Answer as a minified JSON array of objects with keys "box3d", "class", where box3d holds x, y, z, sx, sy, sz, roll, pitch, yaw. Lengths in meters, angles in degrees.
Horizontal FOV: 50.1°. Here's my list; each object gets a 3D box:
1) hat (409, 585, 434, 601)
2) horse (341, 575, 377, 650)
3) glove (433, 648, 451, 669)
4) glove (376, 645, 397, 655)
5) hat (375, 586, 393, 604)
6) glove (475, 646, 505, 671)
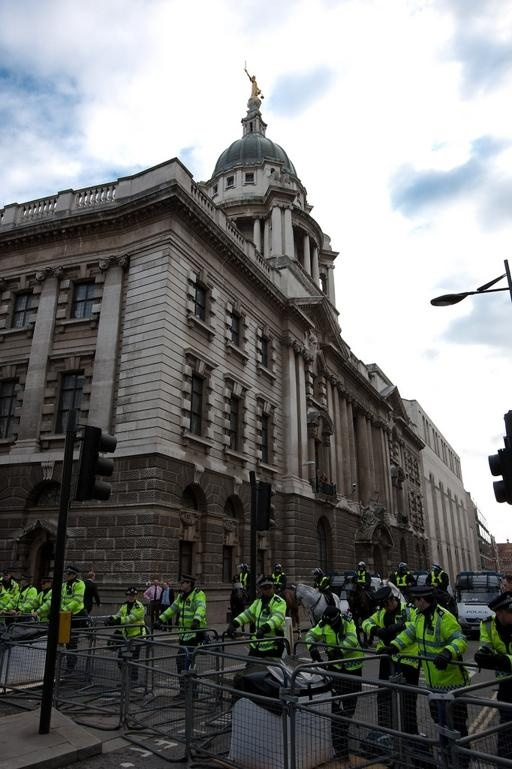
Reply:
[{"box3d":[1.878,2.330,6.174,0.268,0.089,0.232,5,-6,-9],"class":"hat"},{"box3d":[2.440,4.912,12.094,0.472,1.395,1.769,6,-31,-14],"class":"horse"},{"box3d":[1.825,2.664,5.368,0.142,0.204,0.073,20,-68,0],"class":"glove"},{"box3d":[1.584,3.132,6.472,0.204,0.060,0.157,12,-28,-19],"class":"glove"},{"box3d":[1.675,2.801,7.213,0.222,0.153,0.298,-14,13,30],"class":"hat"},{"box3d":[2.347,2.729,5.526,0.284,0.129,0.377,11,-14,14],"class":"glove"}]
